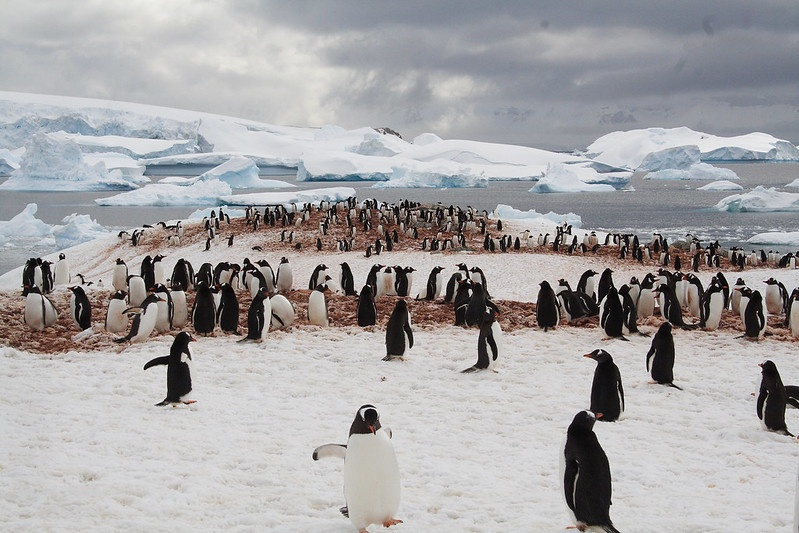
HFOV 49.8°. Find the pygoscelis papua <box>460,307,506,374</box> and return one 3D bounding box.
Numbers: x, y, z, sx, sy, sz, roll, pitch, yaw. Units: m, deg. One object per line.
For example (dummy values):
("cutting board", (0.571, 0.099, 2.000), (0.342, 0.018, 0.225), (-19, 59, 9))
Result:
("pygoscelis papua", (1.577, 1.376, 16.068), (0.585, 1.155, 0.396), (0, 4, 28))

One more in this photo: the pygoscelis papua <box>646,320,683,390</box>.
("pygoscelis papua", (4.789, 1.597, 15.613), (0.543, 1.204, 0.495), (-1, 3, 7))
